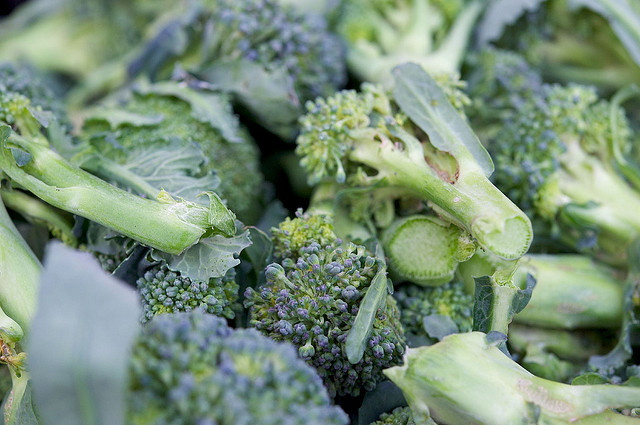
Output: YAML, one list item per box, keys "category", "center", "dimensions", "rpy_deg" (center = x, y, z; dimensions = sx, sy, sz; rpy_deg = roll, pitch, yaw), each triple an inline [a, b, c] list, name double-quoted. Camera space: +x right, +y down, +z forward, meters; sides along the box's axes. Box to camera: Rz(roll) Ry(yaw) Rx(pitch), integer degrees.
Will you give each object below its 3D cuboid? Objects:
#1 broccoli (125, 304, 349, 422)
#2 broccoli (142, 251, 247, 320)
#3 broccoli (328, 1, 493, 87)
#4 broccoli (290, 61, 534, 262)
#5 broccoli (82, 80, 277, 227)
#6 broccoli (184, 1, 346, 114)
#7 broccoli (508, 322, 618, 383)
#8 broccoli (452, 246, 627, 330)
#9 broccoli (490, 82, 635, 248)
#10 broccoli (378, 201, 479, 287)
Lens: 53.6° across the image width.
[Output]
- category: "broccoli"
  center: [-0.203, 0.356, 1.372]
  dimensions: [0.321, 0.275, 0.189]
  rpy_deg: [24, 108, 8]
- category: "broccoli"
  center: [-0.334, 0.189, 1.670]
  dimensions: [0.188, 0.190, 0.114]
  rpy_deg: [2, 85, 7]
- category: "broccoli"
  center: [0.252, -0.566, 2.065]
  dimensions: [0.385, 0.178, 0.407]
  rpy_deg: [9, 51, 14]
- category: "broccoli"
  center: [0.293, -0.156, 1.826]
  dimensions: [0.690, 0.311, 0.431]
  rpy_deg: [25, 74, 9]
- category: "broccoli"
  center: [-0.374, -0.215, 1.840]
  dimensions: [0.453, 0.464, 0.220]
  rpy_deg: [25, 97, 28]
- category: "broccoli"
  center: [-0.149, -0.449, 2.016]
  dimensions: [0.388, 0.245, 0.364]
  rpy_deg: [-1, 32, -12]
- category: "broccoli"
  center: [0.686, 0.442, 1.960]
  dimensions: [0.213, 0.385, 0.124]
  rpy_deg: [11, 94, 14]
- category: "broccoli"
  center: [0.742, 0.224, 1.861]
  dimensions: [0.373, 0.142, 0.213]
  rpy_deg: [-1, 71, 1]
- category: "broccoli"
  center: [0.732, -0.122, 1.877]
  dimensions: [0.357, 0.272, 0.291]
  rpy_deg: [43, 98, 25]
- category: "broccoli"
  center: [0.304, 0.121, 1.800]
  dimensions: [0.071, 0.276, 0.238]
  rpy_deg: [-17, 95, -37]
